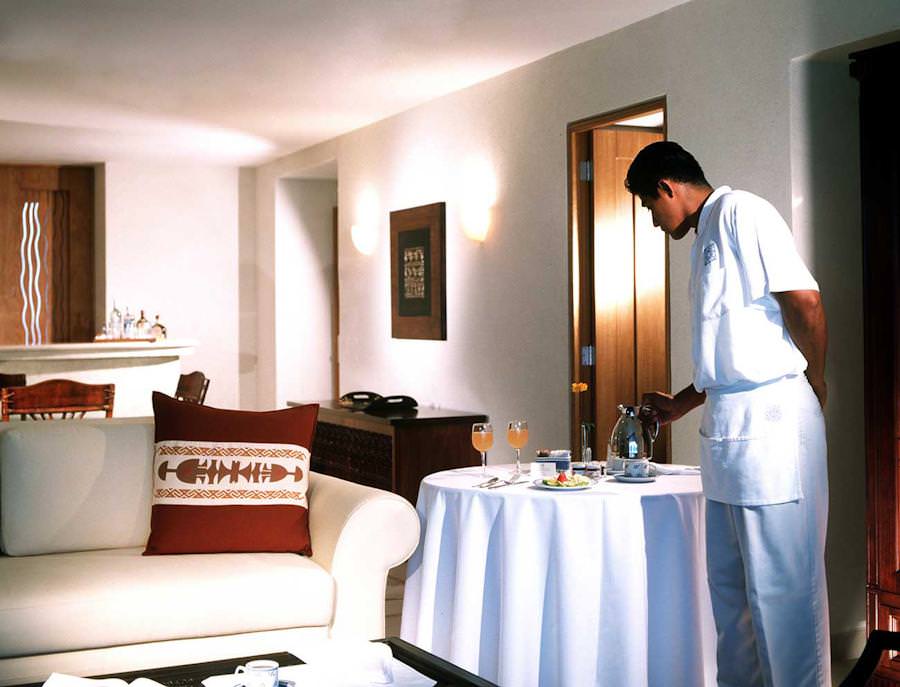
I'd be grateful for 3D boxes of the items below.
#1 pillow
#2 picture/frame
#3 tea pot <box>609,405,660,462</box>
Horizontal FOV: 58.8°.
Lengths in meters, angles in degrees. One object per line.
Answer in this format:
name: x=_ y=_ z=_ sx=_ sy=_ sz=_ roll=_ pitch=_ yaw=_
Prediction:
pillow: x=-0.845 y=0.517 z=3.094 sx=0.616 sy=0.636 sz=0.244 roll=-1 pitch=-19 yaw=-2
picture/frame: x=-0.242 y=-0.544 z=6.360 sx=0.075 sy=1.073 sz=0.744 roll=-1 pitch=0 yaw=-34
tea pot: x=0.680 y=0.328 z=2.961 sx=0.195 sy=0.217 sz=0.135 roll=0 pitch=-2 yaw=21
